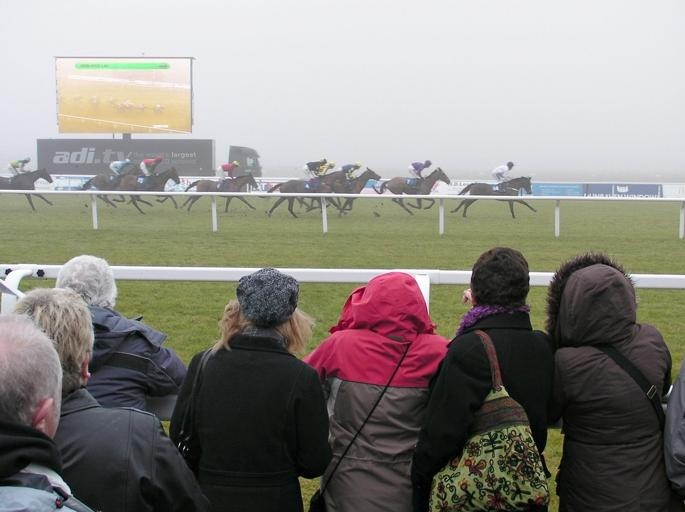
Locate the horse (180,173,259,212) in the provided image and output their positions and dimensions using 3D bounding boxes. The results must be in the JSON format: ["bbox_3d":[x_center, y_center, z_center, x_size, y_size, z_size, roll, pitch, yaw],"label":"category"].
[{"bbox_3d":[-2.286,-1.150,15.529,1.448,0.705,0.283,5,1,12],"label":"horse"}]

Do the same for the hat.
[{"bbox_3d":[-0.241,0.099,2.846,0.226,0.093,0.263,3,25,10],"label":"hat"}]

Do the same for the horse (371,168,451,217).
[{"bbox_3d":[1.301,-1.137,15.371,1.385,0.772,0.318,4,3,27],"label":"horse"}]
